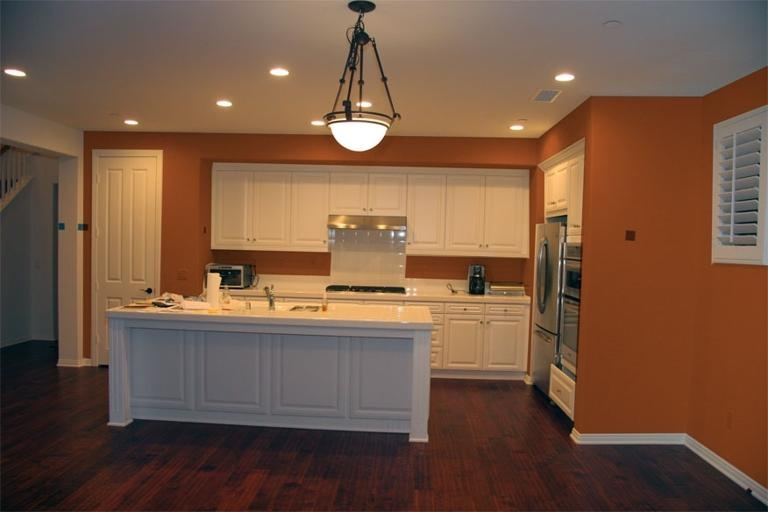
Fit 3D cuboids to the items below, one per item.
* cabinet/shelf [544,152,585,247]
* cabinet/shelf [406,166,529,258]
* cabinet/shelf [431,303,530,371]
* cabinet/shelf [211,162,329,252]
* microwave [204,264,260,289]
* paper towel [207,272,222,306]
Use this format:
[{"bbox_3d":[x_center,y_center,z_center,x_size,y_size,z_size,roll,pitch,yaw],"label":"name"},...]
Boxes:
[{"bbox_3d":[2.064,-0.637,6.407,0.321,1.024,1.214,1,0,3],"label":"cabinet/shelf"},{"bbox_3d":[1.184,-0.636,7.615,1.275,0.846,0.442,0,-2,2],"label":"cabinet/shelf"},{"bbox_3d":[1.276,0.990,7.695,1.558,1.050,0.840,0,-4,2],"label":"cabinet/shelf"},{"bbox_3d":[-1.557,-0.726,7.688,1.241,0.856,0.439,1,0,1],"label":"cabinet/shelf"},{"bbox_3d":[-2.060,0.269,7.755,0.547,0.311,0.382,0,-5,-5],"label":"microwave"},{"bbox_3d":[-1.828,0.352,5.986,0.132,0.344,0.139,0,1,-6],"label":"paper towel"}]
